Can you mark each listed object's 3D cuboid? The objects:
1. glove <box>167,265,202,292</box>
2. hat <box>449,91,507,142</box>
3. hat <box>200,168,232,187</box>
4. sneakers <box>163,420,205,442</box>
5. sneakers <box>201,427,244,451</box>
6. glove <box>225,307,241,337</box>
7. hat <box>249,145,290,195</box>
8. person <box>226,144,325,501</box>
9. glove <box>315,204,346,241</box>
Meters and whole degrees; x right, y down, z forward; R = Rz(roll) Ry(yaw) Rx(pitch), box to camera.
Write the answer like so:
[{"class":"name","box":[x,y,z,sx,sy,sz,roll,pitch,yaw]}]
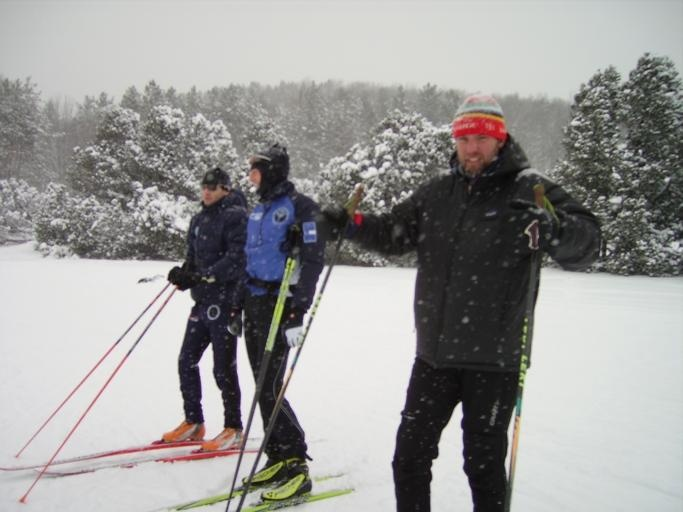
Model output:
[{"class":"glove","box":[-1.864,0.269,7.215,0.337,0.294,0.151,12,-25,-24]},{"class":"hat","box":[1.352,-1.333,5.984,0.545,0.528,0.595,3,-5,10]},{"class":"hat","box":[-1.547,-0.942,7.362,0.250,0.188,0.258,-1,-8,44]},{"class":"sneakers","box":[-1.828,2.056,7.184,0.506,0.254,0.198,5,-9,-9]},{"class":"sneakers","box":[-1.363,2.109,7.036,0.513,0.262,0.182,2,-6,-17]},{"class":"glove","box":[-1.248,0.714,7.029,0.213,0.440,0.294,-2,6,-14]},{"class":"hat","box":[-0.827,-0.984,6.919,0.486,0.590,0.414,6,6,-6]},{"class":"person","box":[-0.684,0.632,6.565,0.909,3.525,1.343,-4,13,-18]},{"class":"glove","box":[-0.110,-0.310,5.979,0.248,0.337,0.328,10,19,-10]}]
